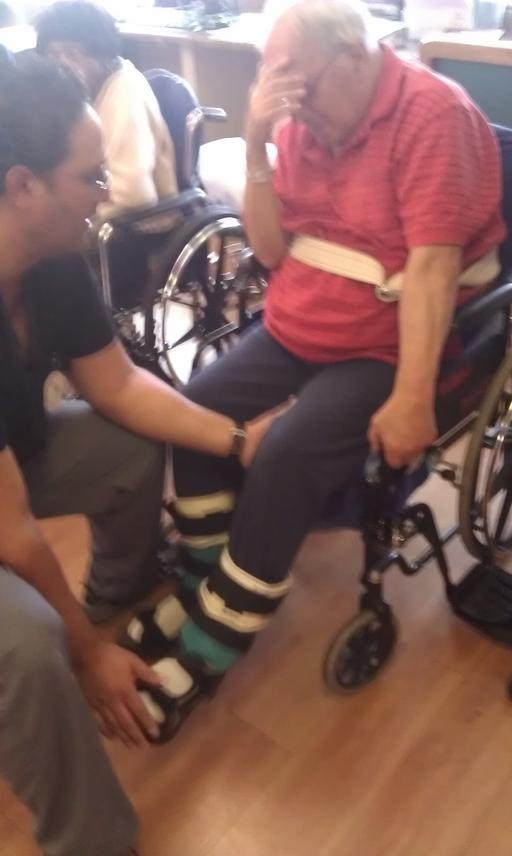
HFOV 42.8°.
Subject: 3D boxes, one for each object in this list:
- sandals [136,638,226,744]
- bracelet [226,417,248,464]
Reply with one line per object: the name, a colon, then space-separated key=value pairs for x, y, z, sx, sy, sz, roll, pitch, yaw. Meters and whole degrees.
sandals: x=-0.086 y=0.303 z=0.747 sx=0.113 sy=0.074 sz=0.041 roll=-53 pitch=10 yaw=-6
bracelet: x=-0.021 y=0.014 z=0.763 sx=0.015 sy=0.038 sz=0.028 roll=9 pitch=2 yaw=-12
